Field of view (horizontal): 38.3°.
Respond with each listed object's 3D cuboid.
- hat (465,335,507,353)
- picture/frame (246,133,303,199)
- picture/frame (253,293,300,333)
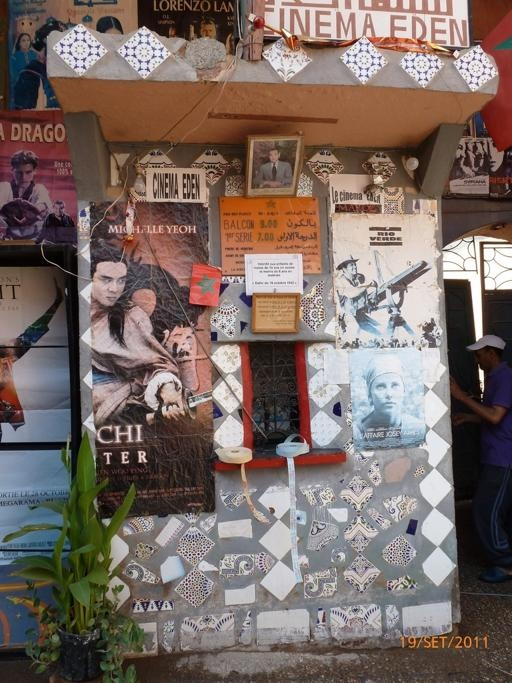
[{"bbox_3d":[1.946,0.020,6.207,0.249,0.152,0.112,5,85,12],"label":"hat"},{"bbox_3d":[0.110,-1.095,4.543,0.442,0.465,0.083,-4,46,-6],"label":"picture/frame"},{"bbox_3d":[0.121,-0.183,4.644,0.274,0.030,0.209,0,89,-5],"label":"picture/frame"}]
